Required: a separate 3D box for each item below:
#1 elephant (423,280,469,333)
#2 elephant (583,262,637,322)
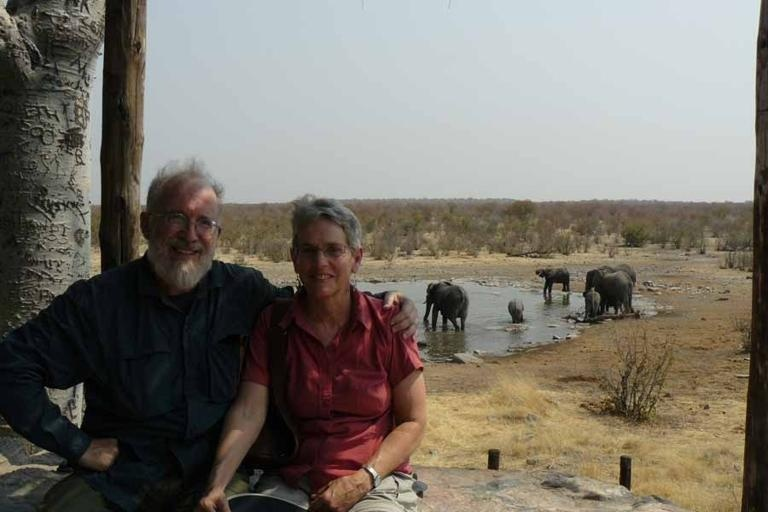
[{"bbox_3d":[1.909,1.564,20.839,0.770,1.481,1.921,-3,6,-17],"label":"elephant"},{"bbox_3d":[8.201,1.171,23.676,1.370,2.261,2.919,1,0,-29],"label":"elephant"}]
